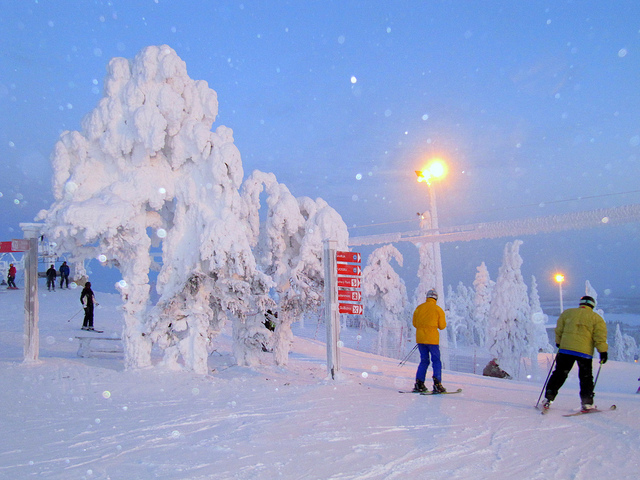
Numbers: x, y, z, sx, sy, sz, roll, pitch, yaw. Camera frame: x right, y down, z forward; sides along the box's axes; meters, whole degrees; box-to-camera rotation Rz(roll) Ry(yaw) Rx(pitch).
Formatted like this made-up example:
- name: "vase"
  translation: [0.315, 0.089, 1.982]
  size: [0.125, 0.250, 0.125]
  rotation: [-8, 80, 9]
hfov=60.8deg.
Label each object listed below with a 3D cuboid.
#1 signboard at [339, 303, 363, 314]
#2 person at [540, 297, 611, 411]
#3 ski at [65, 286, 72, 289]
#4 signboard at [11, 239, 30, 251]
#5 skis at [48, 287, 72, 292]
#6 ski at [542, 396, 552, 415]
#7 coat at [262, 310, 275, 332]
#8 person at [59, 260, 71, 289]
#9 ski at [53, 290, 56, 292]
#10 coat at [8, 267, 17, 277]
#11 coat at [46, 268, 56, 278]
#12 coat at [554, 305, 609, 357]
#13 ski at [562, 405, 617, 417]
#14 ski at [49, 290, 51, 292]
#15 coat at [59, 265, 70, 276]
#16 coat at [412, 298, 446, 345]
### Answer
- name: "signboard"
  translation: [0.826, 1.847, 14.569]
  size: [0.683, 0.275, 0.312]
  rotation: [0, 0, -40]
- name: "person"
  translation: [5.498, 2.444, 11.722]
  size: [1.513, 2.602, 1.145]
  rotation: [0, 0, -44]
- name: "ski"
  translation: [-16.006, 3.044, 34.640]
  size: [0.497, 0.112, 0.177]
  rotation: [0, 0, 39]
- name: "signboard"
  translation: [-8.524, 0.163, 15.520]
  size: [0.191, 0.231, 0.568]
  rotation: [0, 0, 14]
- name: "skis"
  translation: [-16.075, 3.091, 33.677]
  size: [1.339, 0.234, 0.118]
  rotation: [-1, 3, -12]
- name: "ski"
  translation: [4.698, 3.445, 11.381]
  size: [0.105, 0.381, 0.162]
  rotation: [5, -35, 26]
- name: "coat"
  translation: [-1.780, 2.751, 18.590]
  size: [0.156, 0.768, 0.433]
  rotation: [3, 5, 13]
- name: "person"
  translation: [-16.285, 2.244, 34.819]
  size: [0.521, 1.330, 1.781]
  rotation: [0, 0, -26]
- name: "ski"
  translation: [-16.006, 3.104, 32.932]
  size: [0.123, 0.071, 0.630]
  rotation: [0, 0, -32]
- name: "coat"
  translation: [-20.394, 2.146, 36.220]
  size: [0.362, 0.435, 1.559]
  rotation: [0, 0, -31]
- name: "coat"
  translation: [-16.273, 2.001, 33.113]
  size: [0.505, 0.800, 0.347]
  rotation: [1, 5, 2]
- name: "coat"
  translation: [5.559, 1.936, 11.720]
  size: [1.005, 1.160, 0.427]
  rotation: [0, 0, 27]
- name: "ski"
  translation: [5.623, 3.588, 11.447]
  size: [0.769, 0.091, 0.117]
  rotation: [-8, 0, -12]
- name: "ski"
  translation: [-16.261, 3.093, 32.901]
  size: [0.068, 0.066, 0.935]
  rotation: [0, 0, -26]
- name: "coat"
  translation: [-16.156, 1.962, 34.505]
  size: [0.333, 0.710, 0.638]
  rotation: [-9, -7, 30]
- name: "coat"
  translation: [2.630, 1.941, 13.402]
  size: [0.777, 1.188, 0.575]
  rotation: [6, 3, 32]
